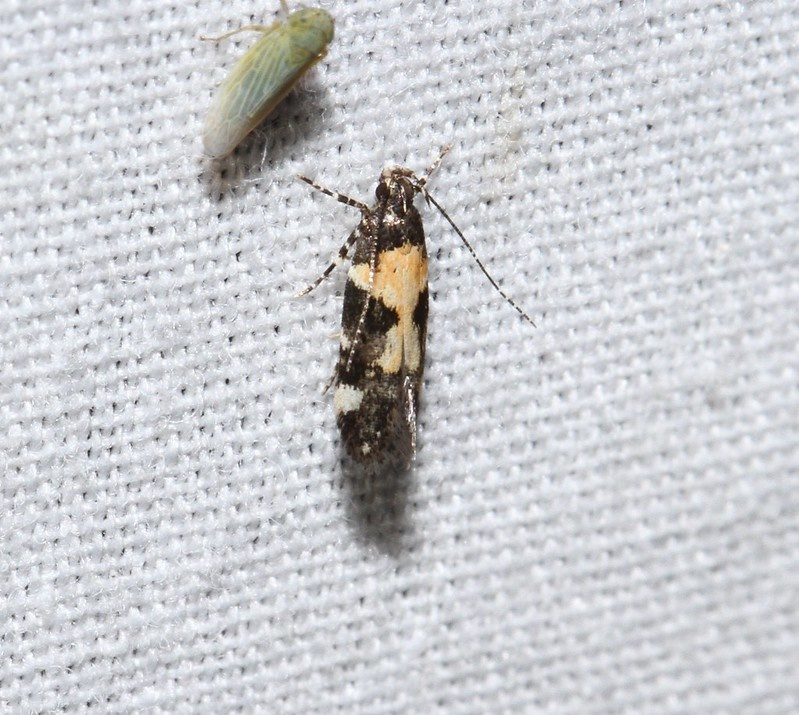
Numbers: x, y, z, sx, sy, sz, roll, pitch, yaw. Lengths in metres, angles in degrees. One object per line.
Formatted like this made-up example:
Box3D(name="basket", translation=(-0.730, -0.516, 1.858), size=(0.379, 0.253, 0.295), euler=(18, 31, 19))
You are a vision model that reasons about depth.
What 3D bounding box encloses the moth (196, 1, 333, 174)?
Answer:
Box3D(name="moth", translation=(-0.438, -0.870, 4.477), size=(0.539, 0.141, 0.279), euler=(-42, 86, -3))
